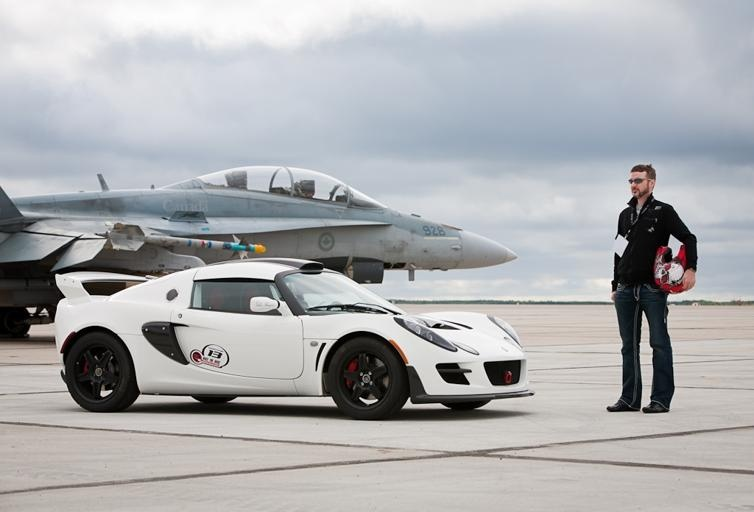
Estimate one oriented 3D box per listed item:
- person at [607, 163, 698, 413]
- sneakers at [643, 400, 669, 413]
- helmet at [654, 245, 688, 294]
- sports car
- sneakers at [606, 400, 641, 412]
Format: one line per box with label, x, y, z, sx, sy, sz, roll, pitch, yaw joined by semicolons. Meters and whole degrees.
person;3.073;0.359;8.384;1.129;2.801;0.664;-8;-5;29
sneakers;3.061;1.668;8.105;0.288;0.134;0.200;-4;-4;14
helmet;3.255;0.155;8.179;0.290;0.531;0.312;-4;-5;-6
sports car;-1.039;0.894;9.038;5.344;1.147;2.428;-1;6;21
sneakers;2.730;1.692;8.233;0.471;0.119;0.137;2;-5;-4
